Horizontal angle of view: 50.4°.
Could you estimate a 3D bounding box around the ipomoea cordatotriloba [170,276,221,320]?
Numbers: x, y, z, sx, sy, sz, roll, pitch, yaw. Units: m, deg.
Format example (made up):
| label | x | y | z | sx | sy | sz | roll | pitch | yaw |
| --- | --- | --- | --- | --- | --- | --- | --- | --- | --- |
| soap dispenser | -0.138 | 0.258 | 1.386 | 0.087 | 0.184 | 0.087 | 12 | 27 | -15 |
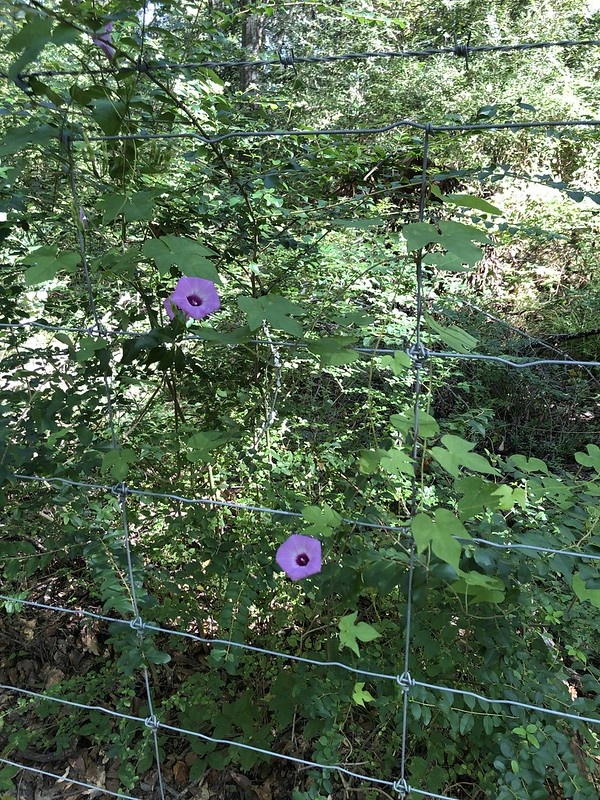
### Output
| label | x | y | z | sx | sy | sz | roll | pitch | yaw |
| --- | --- | --- | --- | --- | --- | --- | --- | --- | --- |
| ipomoea cordatotriloba | -0.201 | -0.194 | 1.235 | 0.078 | 0.095 | 0.085 | 7 | 20 | 13 |
